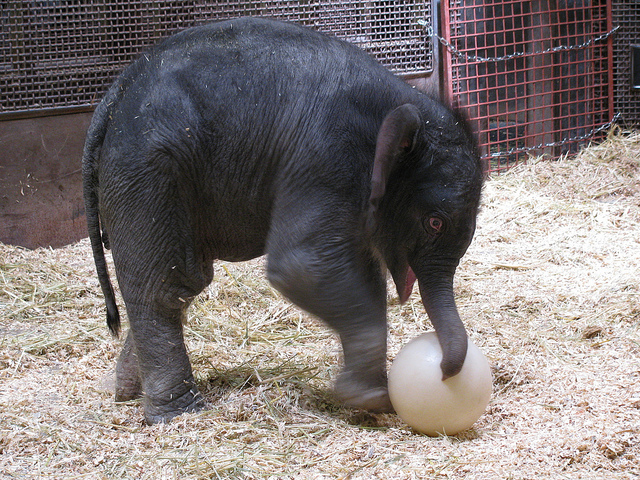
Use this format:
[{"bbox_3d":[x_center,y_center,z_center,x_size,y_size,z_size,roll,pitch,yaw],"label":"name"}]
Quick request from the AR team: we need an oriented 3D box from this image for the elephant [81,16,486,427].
[{"bbox_3d":[-0.202,-0.095,3.788,1.891,1.754,0.907,-2,24,9],"label":"elephant"}]

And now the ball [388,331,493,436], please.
[{"bbox_3d":[0.560,0.662,3.817,0.515,0.516,0.510,0,7,0],"label":"ball"}]
